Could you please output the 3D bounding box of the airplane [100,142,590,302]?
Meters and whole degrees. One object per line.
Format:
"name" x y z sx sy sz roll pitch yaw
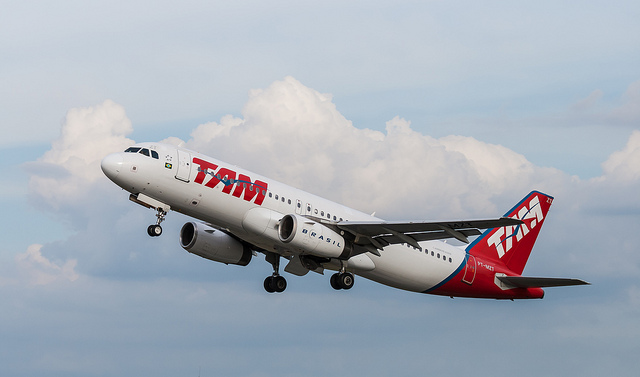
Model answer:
"airplane" -0.453 2.289 60.719 26.875 8.843 8.610 1 -1 -25
